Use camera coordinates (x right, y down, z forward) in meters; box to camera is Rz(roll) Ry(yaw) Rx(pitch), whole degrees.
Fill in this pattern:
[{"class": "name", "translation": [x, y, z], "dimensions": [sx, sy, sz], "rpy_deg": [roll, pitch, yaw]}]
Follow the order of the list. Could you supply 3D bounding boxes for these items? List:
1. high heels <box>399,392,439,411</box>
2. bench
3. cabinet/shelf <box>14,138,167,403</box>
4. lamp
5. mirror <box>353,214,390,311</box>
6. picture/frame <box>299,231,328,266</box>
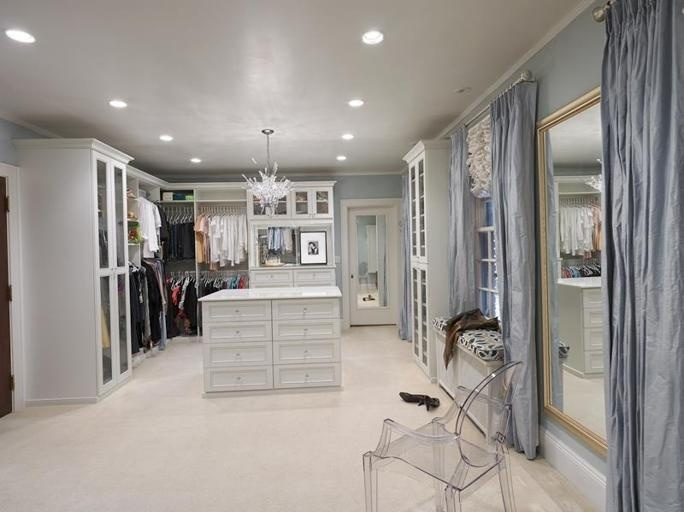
[{"class": "high heels", "translation": [0.754, 1.396, 4.527], "dimensions": [0.296, 0.104, 0.142], "rpy_deg": [17, -9, 35]}, {"class": "bench", "translation": [1.052, 0.985, 3.800], "dimensions": [0.343, 0.699, 1.027], "rpy_deg": [-1, 1, -3]}, {"class": "cabinet/shelf", "translation": [-2.789, 0.131, 4.890], "dimensions": [0.812, 2.627, 0.931], "rpy_deg": [-1, 9, -4]}, {"class": "lamp", "translation": [-0.898, -0.996, 5.928], "dimensions": [0.768, 1.181, 0.791], "rpy_deg": [0, -1, 28]}, {"class": "mirror", "translation": [0.497, 0.095, 7.709], "dimensions": [0.529, 1.532, 0.210], "rpy_deg": [0, 9, 4]}, {"class": "picture/frame", "translation": [-0.461, -0.107, 7.338], "dimensions": [0.481, 0.645, 0.042], "rpy_deg": [-1, -2, -6]}]
